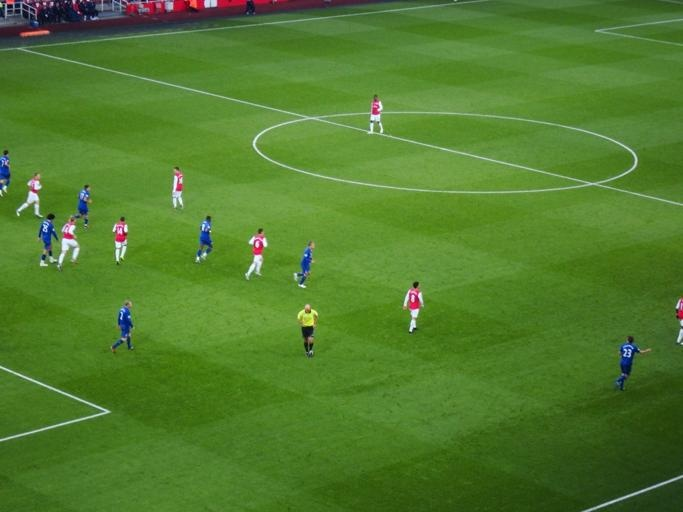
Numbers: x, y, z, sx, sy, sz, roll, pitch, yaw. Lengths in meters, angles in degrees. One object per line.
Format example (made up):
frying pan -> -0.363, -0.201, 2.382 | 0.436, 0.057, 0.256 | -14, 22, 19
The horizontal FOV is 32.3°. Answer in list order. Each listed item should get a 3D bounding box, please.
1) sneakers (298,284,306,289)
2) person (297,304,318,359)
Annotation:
sneakers -> -1.739, 1.225, 50.595 | 0.253, 0.096, 0.306 | -6, 22, -9
person -> -1.354, 2.661, 45.364 | 0.644, 2.236, 0.978 | -4, 24, -1
